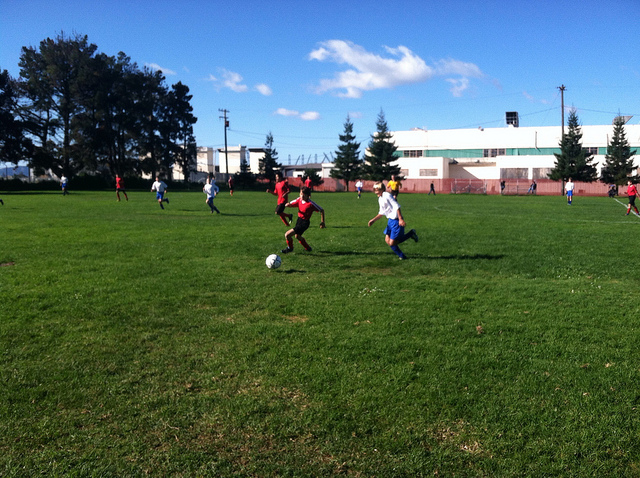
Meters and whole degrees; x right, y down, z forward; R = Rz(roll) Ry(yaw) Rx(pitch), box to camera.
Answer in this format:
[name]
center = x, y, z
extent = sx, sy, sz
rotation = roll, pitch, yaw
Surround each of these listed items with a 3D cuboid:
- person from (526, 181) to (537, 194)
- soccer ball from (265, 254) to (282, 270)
[person]
center = 22.609, -5.409, 65.124
extent = 0.928, 0.765, 2.215
rotation = -19, 12, 34
[soccer ball]
center = -1.019, 0.572, 13.583
extent = 0.280, 0.319, 0.175
rotation = -15, -30, -14
